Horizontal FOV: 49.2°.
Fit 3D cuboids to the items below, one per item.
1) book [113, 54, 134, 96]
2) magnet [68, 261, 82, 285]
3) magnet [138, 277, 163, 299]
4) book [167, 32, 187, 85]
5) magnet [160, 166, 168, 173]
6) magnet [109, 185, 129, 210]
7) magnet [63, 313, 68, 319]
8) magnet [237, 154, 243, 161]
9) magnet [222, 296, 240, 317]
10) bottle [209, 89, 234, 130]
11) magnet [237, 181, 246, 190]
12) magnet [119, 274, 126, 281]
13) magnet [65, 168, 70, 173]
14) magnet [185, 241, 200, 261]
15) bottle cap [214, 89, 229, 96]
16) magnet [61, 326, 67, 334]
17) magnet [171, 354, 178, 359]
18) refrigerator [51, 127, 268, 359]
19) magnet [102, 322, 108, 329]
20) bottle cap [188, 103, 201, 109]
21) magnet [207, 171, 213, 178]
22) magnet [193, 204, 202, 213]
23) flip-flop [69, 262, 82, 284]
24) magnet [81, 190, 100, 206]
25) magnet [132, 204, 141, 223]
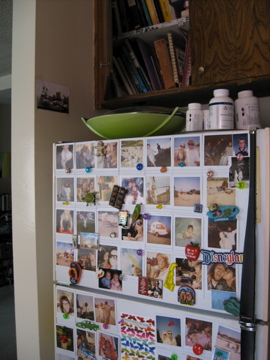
[{"bbox_3d":[-0.059,-0.554,1.576,0.038,0.286,0.039,-23,-4,12],"label":"book"},{"bbox_3d":[-0.216,0.327,1.057,0.051,0.076,0.017,4,1,31],"label":"magnet"},{"bbox_3d":[0.045,0.320,0.887,0.062,0.055,0.045,8,13,40],"label":"magnet"},{"bbox_3d":[0.202,-0.582,1.421,0.091,0.251,0.194,0,0,7],"label":"book"},{"bbox_3d":[0.086,-0.031,0.871,0.020,0.021,0.005,5,-2,26],"label":"magnet"},{"bbox_3d":[-0.052,0.054,0.953,0.065,0.070,0.017,15,4,43],"label":"magnet"},{"bbox_3d":[-0.257,0.495,1.080,0.019,0.019,0.005,-5,-4,42],"label":"magnet"},{"bbox_3d":[0.270,-0.057,0.753,0.014,0.015,0.003,0,0,20],"label":"magnet"},{"bbox_3d":[0.249,0.319,0.748,0.017,0.033,0.041,17,2,-45],"label":"magnet"},{"bbox_3d":[0.310,-0.245,1.054,0.083,0.153,0.084,2,-5,0],"label":"bottle"},{"bbox_3d":[0.270,0.014,0.745,0.018,0.019,0.005,-3,-9,26],"label":"magnet"},{"bbox_3d":[-0.040,0.308,0.940,0.018,0.019,0.004,3,0,39],"label":"magnet"},{"bbox_3d":[-0.249,-0.035,1.077,0.014,0.015,0.004,6,6,29],"label":"magnet"},{"bbox_3d":[0.161,0.196,0.813,0.048,0.066,0.021,-5,-16,38],"label":"magnet"},{"bbox_3d":[0.303,-0.306,1.033,0.030,0.022,0.031,11,13,38],"label":"bottle cap"},{"bbox_3d":[-0.263,0.548,1.081,0.023,0.027,0.007,-7,-11,43],"label":"magnet"},{"bbox_3d":[0.113,0.501,0.840,0.014,0.014,0.003,33,20,12],"label":"magnet"},{"bbox_3d":[0.205,0.232,1.150,0.657,0.838,0.476,3,9,31],"label":"refrigerator"},{"bbox_3d":[-0.098,0.479,0.971,0.004,0.019,0.017,5,-35,-33],"label":"magnet"},{"bbox_3d":[0.225,-0.278,1.108,0.027,0.017,0.028,4,5,40],"label":"bottle cap"},{"bbox_3d":[0.201,-0.016,0.786,0.004,0.014,0.013,3,-5,-42],"label":"magnet"},{"bbox_3d":[0.173,0.077,0.805,0.020,0.021,0.007,4,-2,35],"label":"magnet"},{"bbox_3d":[-0.211,0.327,1.050,0.046,0.070,0.020,4,1,29],"label":"flip-flop"},{"bbox_3d":[-0.162,0.061,1.013,0.049,0.052,0.019,0,1,29],"label":"magnet"},{"bbox_3d":[0.004,0.100,0.913,0.017,0.059,0.022,13,15,21],"label":"magnet"}]
